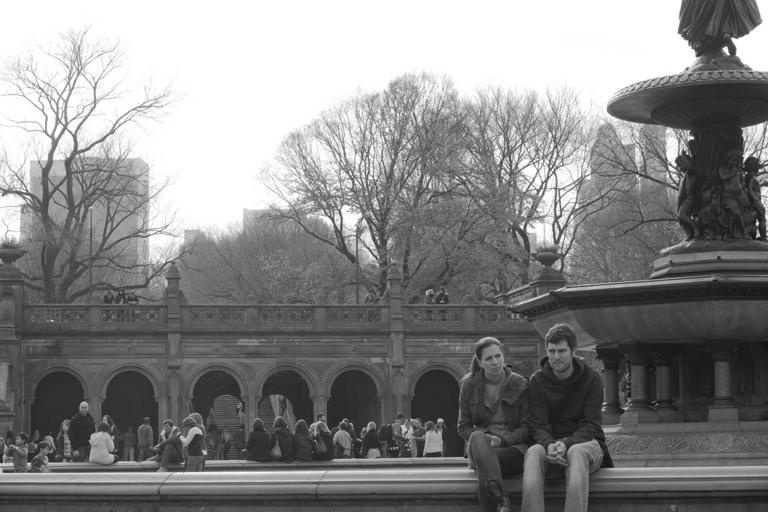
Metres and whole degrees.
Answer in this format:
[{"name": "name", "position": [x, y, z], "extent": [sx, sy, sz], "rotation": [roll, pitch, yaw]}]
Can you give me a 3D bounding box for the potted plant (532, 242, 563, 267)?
[{"name": "potted plant", "position": [5.604, -0.244, 67.007], "extent": [1.102, 0.662, 1.051], "rotation": [1, -11, 0]}]
